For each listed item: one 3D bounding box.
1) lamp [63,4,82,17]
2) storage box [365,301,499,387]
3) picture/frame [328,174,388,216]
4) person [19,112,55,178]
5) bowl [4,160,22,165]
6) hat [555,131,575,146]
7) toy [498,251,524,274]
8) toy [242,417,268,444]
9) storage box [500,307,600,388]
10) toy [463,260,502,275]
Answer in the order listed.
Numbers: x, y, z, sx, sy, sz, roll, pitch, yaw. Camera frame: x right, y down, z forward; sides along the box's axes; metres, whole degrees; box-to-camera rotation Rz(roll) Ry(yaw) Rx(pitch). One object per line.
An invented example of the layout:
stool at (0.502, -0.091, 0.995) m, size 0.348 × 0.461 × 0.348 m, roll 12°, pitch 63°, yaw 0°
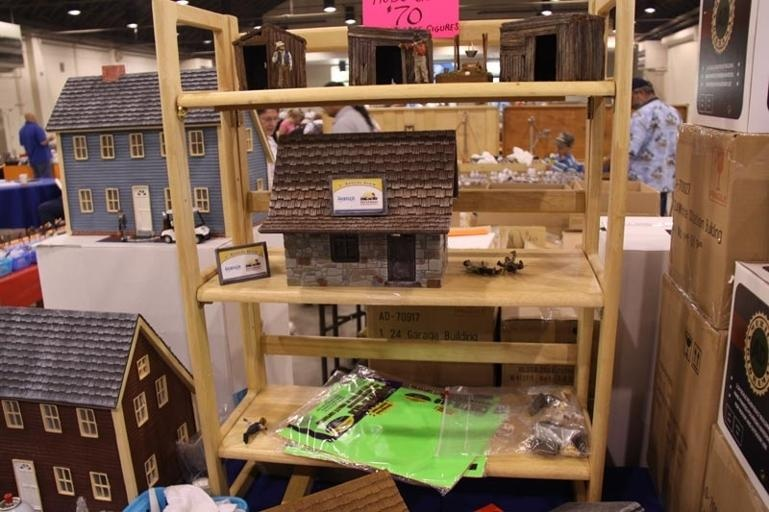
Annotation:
lamp at (-6.326, -5.036, 12.830) m, size 0.274 × 0.088 × 0.300 m, roll 2°, pitch -9°, yaw -23°
storage box at (0.243, 0.415, 3.115) m, size 0.481 × 0.304 × 0.477 m, roll 1°, pitch 10°, yaw 8°
picture/frame at (-0.100, -0.253, 2.595) m, size 0.175 × 0.119 × 0.017 m, roll 0°, pitch 2°, yaw 5°
person at (-5.062, -1.535, 9.171) m, size 0.358 × 0.792 × 0.374 m, roll -9°, pitch 15°, yaw -28°
bowl at (-6.081, -1.530, 10.283) m, size 0.203 × 0.067 × 0.204 m, roll 0°, pitch 1°, yaw 0°
hat at (1.975, -1.296, 6.880) m, size 0.171 × 0.137 × 0.147 m, roll 7°, pitch -8°, yaw 23°
toy at (0.558, 0.036, 2.817) m, size 0.115 × 0.054 × 0.102 m, roll -7°, pitch 5°, yaw -14°
toy at (-0.598, 0.801, 2.900) m, size 0.071 × 0.036 × 0.096 m, roll -11°, pitch 12°, yaw 22°
storage box at (0.793, 0.414, 3.100) m, size 0.407 × 0.370 × 0.391 m, roll 0°, pitch 10°, yaw 4°
toy at (0.425, 0.055, 2.773) m, size 0.103 × 0.039 × 0.085 m, roll 6°, pitch 7°, yaw 35°
